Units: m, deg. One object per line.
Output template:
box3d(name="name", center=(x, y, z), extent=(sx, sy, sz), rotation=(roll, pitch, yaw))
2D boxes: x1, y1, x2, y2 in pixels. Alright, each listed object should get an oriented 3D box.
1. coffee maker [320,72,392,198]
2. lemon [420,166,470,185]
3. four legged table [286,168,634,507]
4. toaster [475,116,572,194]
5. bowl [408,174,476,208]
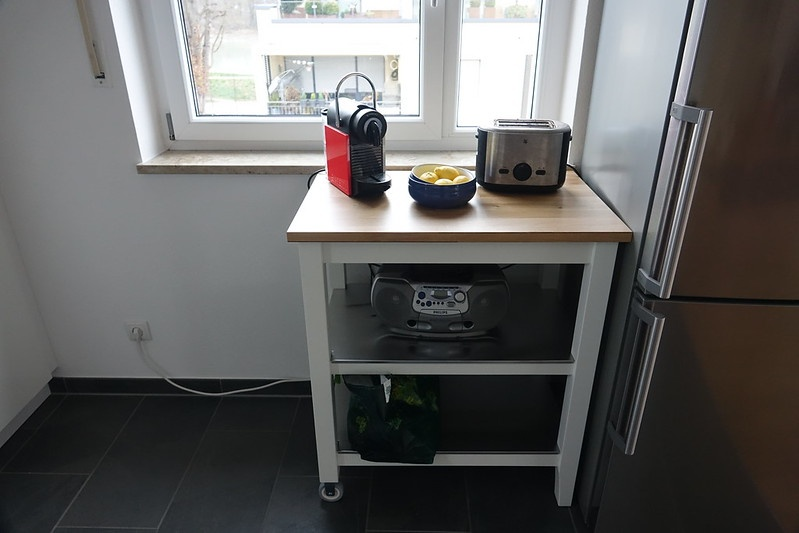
box3d(name="coffee maker", center=(-0.164, -0.470, 2.005), extent=(0.191, 0.387, 0.324), rotation=(-11, 28, -17))
box3d(name="lemon", center=(0.163, -0.310, 1.943), extent=(0.112, 0.047, 0.112), rotation=(4, 23, 15))
box3d(name="four legged table", center=(0.160, 0.308, 2.253), extent=(1.119, 1.047, 0.868), rotation=(2, 12, 1))
box3d(name="toaster", center=(0.432, -0.375, 2.080), extent=(0.424, 0.311, 0.240), rotation=(1, 30, 4))
box3d(name="bowl", center=(0.142, -0.249, 1.902), extent=(0.143, 0.058, 0.137), rotation=(0, 27, 0))
